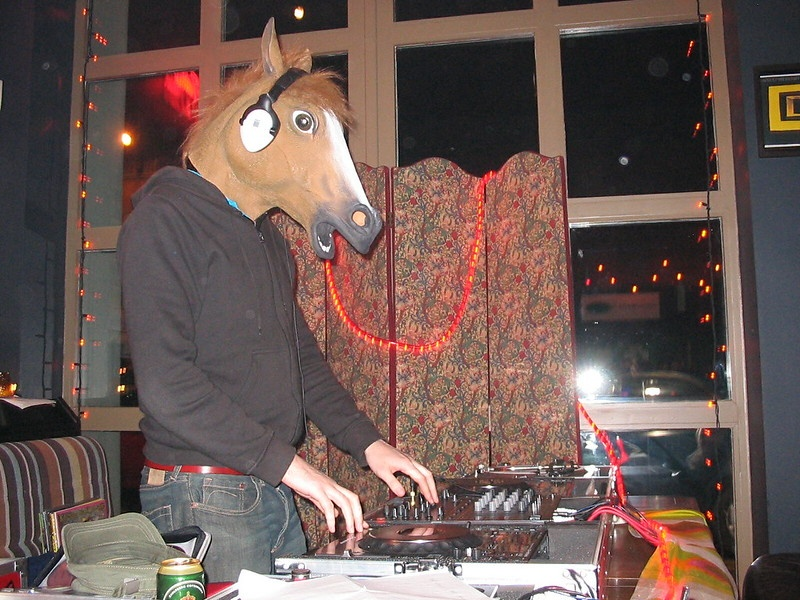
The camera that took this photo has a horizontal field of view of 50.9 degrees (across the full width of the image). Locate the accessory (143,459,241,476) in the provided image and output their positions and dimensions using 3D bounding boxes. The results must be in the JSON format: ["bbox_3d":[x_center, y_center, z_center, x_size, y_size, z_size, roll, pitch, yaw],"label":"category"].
[{"bbox_3d":[-0.643,0.522,2.566,0.306,0.047,0.056,-1,-4,7],"label":"accessory"}]

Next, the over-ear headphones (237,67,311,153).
[{"bbox_3d":[-0.395,-0.591,2.668,0.089,0.199,0.215,33,-16,6],"label":"over-ear headphones"}]

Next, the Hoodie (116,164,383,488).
[{"bbox_3d":[-0.539,0.101,2.917,0.851,1.084,1.029,-3,-11,18],"label":"Hoodie"}]
